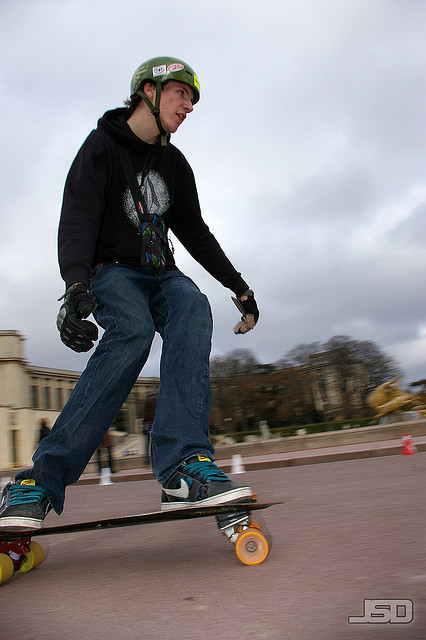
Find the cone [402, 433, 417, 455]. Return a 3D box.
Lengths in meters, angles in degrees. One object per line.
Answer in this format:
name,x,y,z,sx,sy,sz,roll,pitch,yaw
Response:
cone,2.975,1.917,7.495,0.180,0.279,0.701,-10,-7,18

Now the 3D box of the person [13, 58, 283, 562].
person,-0.287,-0.210,2.131,0.697,1.914,1.225,-12,-8,28

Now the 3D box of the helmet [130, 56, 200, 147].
helmet,-0.197,-1.027,2.319,0.339,0.388,0.275,7,10,22

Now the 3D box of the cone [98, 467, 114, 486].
cone,-1.960,2.862,8.982,0.312,0.303,0.303,-1,-16,-2
